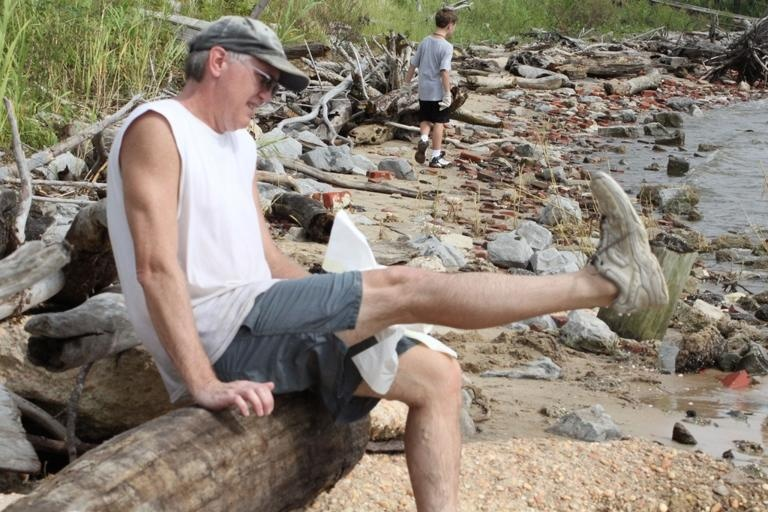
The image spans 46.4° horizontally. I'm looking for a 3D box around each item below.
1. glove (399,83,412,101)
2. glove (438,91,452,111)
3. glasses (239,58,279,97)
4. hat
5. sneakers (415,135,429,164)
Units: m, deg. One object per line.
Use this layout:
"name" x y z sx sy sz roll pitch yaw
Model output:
"glove" 0.307 -2.513 13.655 0.145 0.070 0.242 0 55 7
"glove" 0.835 -2.156 12.430 0.175 0.231 0.232 1 -17 -8
"glasses" -0.785 -1.112 5.605 0.194 0.061 0.201 41 9 -50
"hat" -0.822 -1.253 5.598 0.696 0.340 0.427 16 1 -10
"sneakers" 0.528 -1.508 12.746 0.149 0.407 0.175 12 43 3
